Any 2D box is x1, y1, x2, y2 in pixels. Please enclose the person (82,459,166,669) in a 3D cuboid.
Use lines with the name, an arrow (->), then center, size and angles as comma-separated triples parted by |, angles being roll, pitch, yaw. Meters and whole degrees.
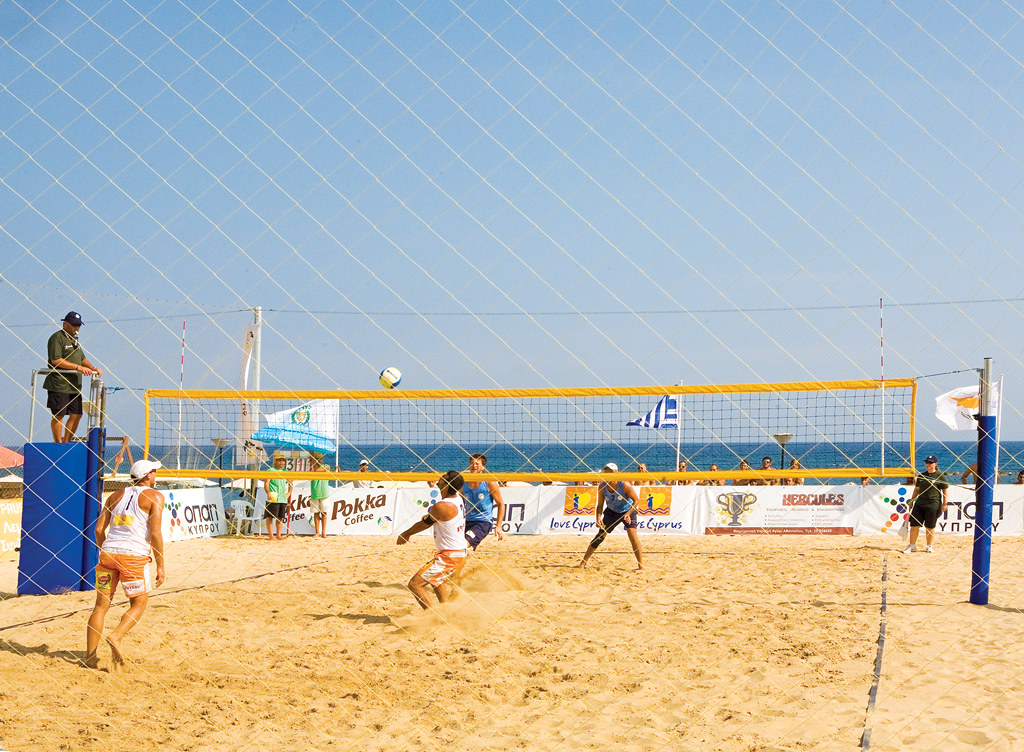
person -> -3.386, 1.584, 13.052 | 0.668, 1.668, 0.885 | 4, 10, 29

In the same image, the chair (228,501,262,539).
chair -> -3.781, 1.988, 21.220 | 0.403, 0.629, 0.468 | 4, -8, -32

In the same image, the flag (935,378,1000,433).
flag -> 3.936, 0.276, 12.871 | 0.500, 0.169, 0.497 | -9, -4, -22

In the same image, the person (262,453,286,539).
person -> -3.183, 1.678, 20.437 | 0.335, 1.300, 1.382 | -2, 9, -8

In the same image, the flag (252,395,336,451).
flag -> -3.004, 0.561, 21.465 | 1.348, 1.075, 0.479 | 1, 20, -35

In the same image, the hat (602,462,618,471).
hat -> 1.074, 0.981, 16.248 | 0.081, 0.062, 0.118 | 2, 5, 34

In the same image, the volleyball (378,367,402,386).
volleyball -> -1.094, 0.025, 13.603 | 0.130, 0.134, 0.134 | -6, 31, 40

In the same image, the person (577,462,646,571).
person -> 1.101, 1.571, 16.683 | 0.665, 1.162, 0.675 | 1, 1, 13

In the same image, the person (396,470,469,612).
person -> -0.715, 1.576, 14.461 | 0.613, 1.416, 0.909 | -1, 9, -2
